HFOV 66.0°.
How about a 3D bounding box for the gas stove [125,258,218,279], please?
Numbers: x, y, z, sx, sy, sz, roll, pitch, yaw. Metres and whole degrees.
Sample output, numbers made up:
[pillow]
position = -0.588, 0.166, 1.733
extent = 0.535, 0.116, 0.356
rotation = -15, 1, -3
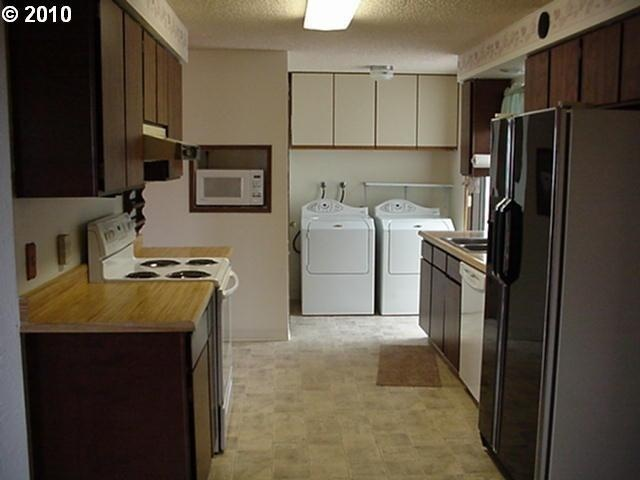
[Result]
[gas stove]
position = -0.883, 0.174, 3.041
extent = 0.545, 0.018, 0.575
rotation = -1, 11, -7

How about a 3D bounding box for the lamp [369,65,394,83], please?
[lamp]
position = 0.618, -1.687, 4.950
extent = 0.221, 0.122, 0.146
rotation = 0, 10, 0
